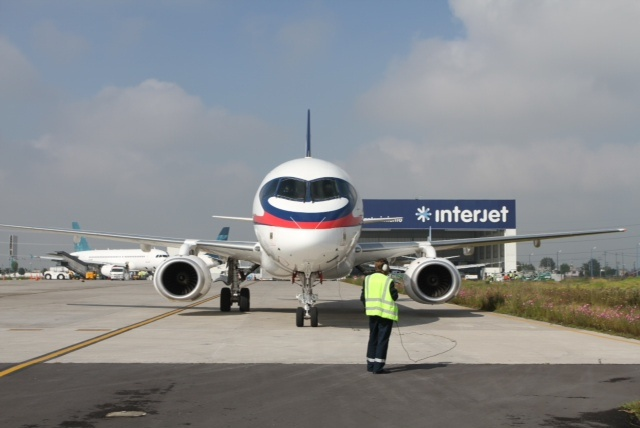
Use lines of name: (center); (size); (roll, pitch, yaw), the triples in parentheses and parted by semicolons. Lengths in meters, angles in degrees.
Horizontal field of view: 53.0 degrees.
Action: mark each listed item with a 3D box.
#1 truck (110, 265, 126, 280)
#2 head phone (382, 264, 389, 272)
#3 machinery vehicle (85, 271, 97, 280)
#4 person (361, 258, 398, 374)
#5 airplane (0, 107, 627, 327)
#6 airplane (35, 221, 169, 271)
truck: (-26.697, 7.910, 84.560); (1.477, 1.139, 2.251); (0, -12, -8)
head phone: (1.405, 1.180, 13.839); (0.141, 0.170, 0.078); (-1, -10, 0)
machinery vehicle: (-32.383, 8.796, 90.450); (1.016, 0.983, 1.706); (4, -10, -36)
person: (1.221, 2.099, 13.298); (0.744, 2.255, 0.919); (0, -1, 3)
airplane: (-0.888, 0.163, 19.857); (8.853, 6.733, 8.292); (-1, -1, 25)
airplane: (-20.293, 4.358, 62.128); (9.100, 3.097, 8.404); (-2, -1, 2)
